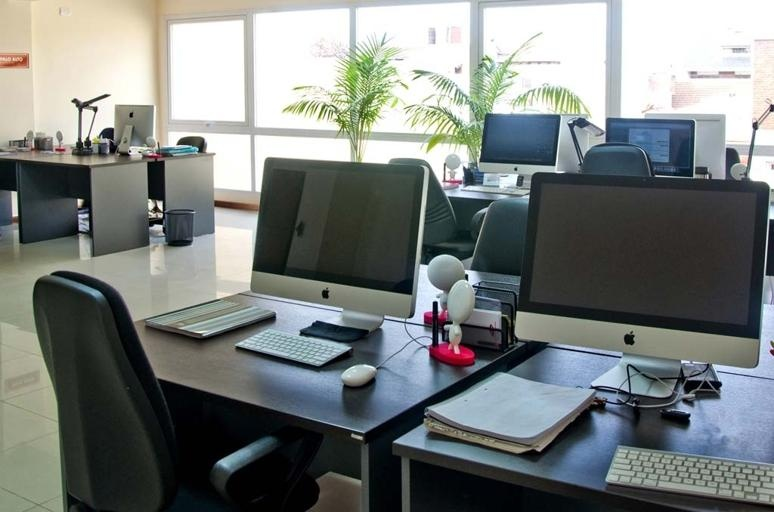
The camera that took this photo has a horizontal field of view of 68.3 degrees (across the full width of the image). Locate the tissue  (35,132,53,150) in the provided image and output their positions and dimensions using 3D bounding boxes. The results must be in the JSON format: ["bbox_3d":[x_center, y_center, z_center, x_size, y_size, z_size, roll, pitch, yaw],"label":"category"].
[{"bbox_3d":[-4.303,-1.434,7.175,0.310,0.211,0.193,9,16,36],"label":"tissue "}]

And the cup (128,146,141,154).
[{"bbox_3d":[-3.050,-1.269,6.880,0.142,0.091,0.102,-2,6,-41],"label":"cup"}]

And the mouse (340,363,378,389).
[{"bbox_3d":[-0.083,0.371,1.786,0.127,0.056,0.079,-12,17,-43],"label":"mouse"}]

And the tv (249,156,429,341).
[{"bbox_3d":[-0.187,-0.017,2.188,0.698,0.573,0.194,6,8,24],"label":"tv"}]

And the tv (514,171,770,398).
[{"bbox_3d":[0.777,0.092,1.730,0.691,0.587,0.180,4,4,25],"label":"tv"}]

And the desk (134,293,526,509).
[{"bbox_3d":[-0.134,0.381,1.855,0.926,0.468,0.672,12,22,37],"label":"desk"}]

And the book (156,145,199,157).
[{"bbox_3d":[-2.506,-1.274,6.941,0.556,0.113,0.340,-11,17,-40],"label":"book"}]

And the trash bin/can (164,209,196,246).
[{"bbox_3d":[-2.406,-0.311,6.617,0.371,0.396,0.410,1,5,-3],"label":"trash bin/can"}]

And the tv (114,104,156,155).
[{"bbox_3d":[-3.134,-1.556,7.099,0.706,0.642,0.235,6,9,22],"label":"tv"}]

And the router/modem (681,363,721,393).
[{"bbox_3d":[0.965,0.366,1.766,0.090,0.029,0.133,-3,12,19],"label":"router/modem"}]
